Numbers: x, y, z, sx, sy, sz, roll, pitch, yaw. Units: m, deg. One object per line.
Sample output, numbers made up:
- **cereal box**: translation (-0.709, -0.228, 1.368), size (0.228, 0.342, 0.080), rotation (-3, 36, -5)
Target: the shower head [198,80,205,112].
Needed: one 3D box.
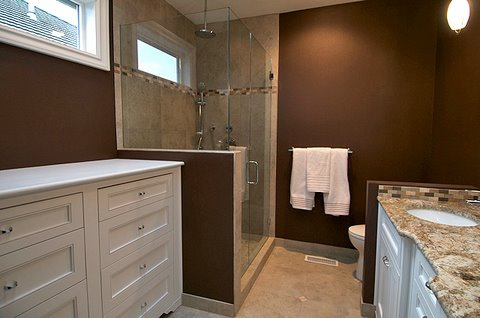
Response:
- **shower head**: translation (-0.361, -0.636, 3.108), size (0.066, 0.203, 0.042), rotation (0, 6, 9)

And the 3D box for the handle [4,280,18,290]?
- **handle**: translation (-1.475, 0.810, 2.128), size (0.064, 0.027, 0.093), rotation (5, -1, -24)

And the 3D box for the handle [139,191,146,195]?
- **handle**: translation (-0.803, 0.283, 2.725), size (0.033, 0.023, 0.032), rotation (0, 3, -10)

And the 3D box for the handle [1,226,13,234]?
- **handle**: translation (-1.485, 0.457, 2.117), size (0.061, 0.046, 0.021), rotation (-5, 7, -36)

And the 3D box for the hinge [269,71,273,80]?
- **hinge**: translation (0.380, -1.015, 4.053), size (0.019, 0.109, 0.138), rotation (1, 6, 19)

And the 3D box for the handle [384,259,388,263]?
- **handle**: translation (1.176, 0.824, 2.669), size (0.045, 0.013, 0.051), rotation (-2, 2, 24)

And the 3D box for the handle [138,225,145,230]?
- **handle**: translation (-0.814, 0.563, 2.727), size (0.045, 0.023, 0.059), rotation (3, -4, -44)

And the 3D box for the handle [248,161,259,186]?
- **handle**: translation (0.135, 0.152, 3.544), size (0.023, 0.374, 0.248), rotation (-1, -2, 23)

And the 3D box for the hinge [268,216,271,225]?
- **hinge**: translation (0.377, 0.791, 4.240), size (0.016, 0.121, 0.104), rotation (1, 6, 19)

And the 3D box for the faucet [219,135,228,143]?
- **faucet**: translation (-0.147, -0.182, 3.132), size (0.097, 0.116, 0.032), rotation (2, 4, 8)

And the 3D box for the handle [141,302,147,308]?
- **handle**: translation (-0.804, 1.225, 2.767), size (0.024, 0.026, 0.025), rotation (2, 3, 10)

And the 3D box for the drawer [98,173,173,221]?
- **drawer**: translation (-0.870, 0.300, 2.653), size (0.284, 0.146, 0.412), rotation (3, 5, 27)
